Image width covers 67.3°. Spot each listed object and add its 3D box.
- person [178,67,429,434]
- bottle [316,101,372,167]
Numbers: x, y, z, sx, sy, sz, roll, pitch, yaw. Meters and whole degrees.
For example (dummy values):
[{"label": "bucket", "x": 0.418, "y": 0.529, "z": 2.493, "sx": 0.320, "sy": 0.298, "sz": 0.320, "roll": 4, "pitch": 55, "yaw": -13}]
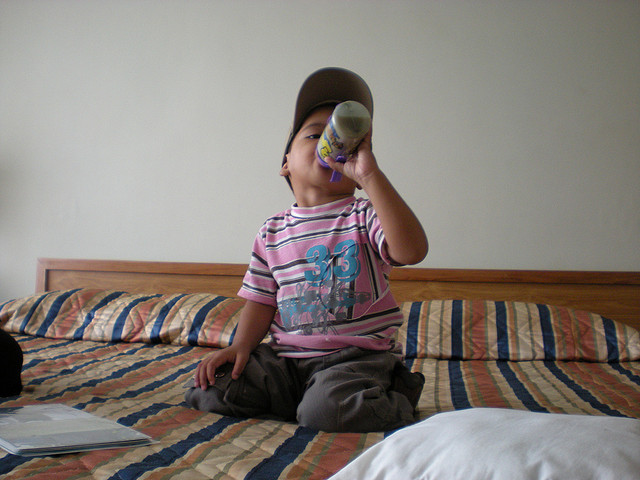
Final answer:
[{"label": "person", "x": -0.009, "y": -0.017, "z": 1.139, "sx": 0.524, "sy": 0.826, "sz": 0.308, "roll": 1, "pitch": 0, "yaw": 20}, {"label": "bottle", "x": 0.048, "y": -0.226, "z": 1.062, "sx": 0.093, "sy": 0.127, "sz": 0.187, "roll": 1, "pitch": 0, "yaw": -9}]
